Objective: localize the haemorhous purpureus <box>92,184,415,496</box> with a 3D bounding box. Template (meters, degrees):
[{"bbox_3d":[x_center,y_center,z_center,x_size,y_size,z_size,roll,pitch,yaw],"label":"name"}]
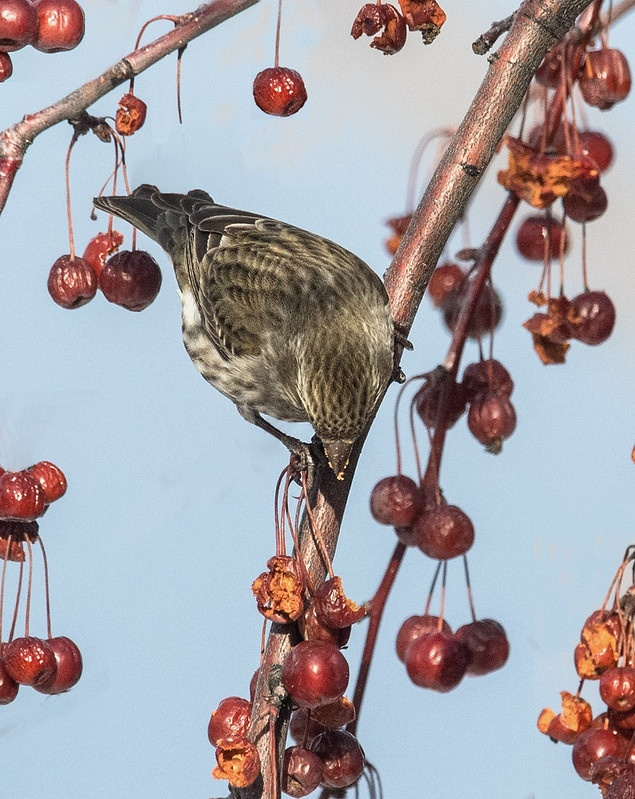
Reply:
[{"bbox_3d":[-0.093,-0.189,3.946,0.266,0.746,0.313,-33,0,-15],"label":"haemorhous purpureus"}]
